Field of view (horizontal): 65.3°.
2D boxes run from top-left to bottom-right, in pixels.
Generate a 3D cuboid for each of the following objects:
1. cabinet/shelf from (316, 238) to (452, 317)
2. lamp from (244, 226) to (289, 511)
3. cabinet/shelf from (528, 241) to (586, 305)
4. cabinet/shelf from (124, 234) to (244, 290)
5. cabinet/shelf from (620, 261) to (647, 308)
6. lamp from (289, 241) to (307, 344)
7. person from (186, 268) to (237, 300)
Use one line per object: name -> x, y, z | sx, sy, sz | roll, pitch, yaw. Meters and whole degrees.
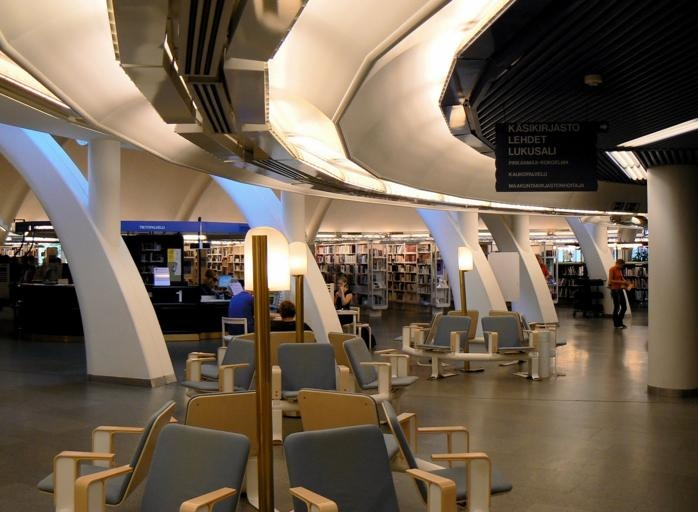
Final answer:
cabinet/shelf -> 1.336, 0.711, 22.272 | 3.574, 3.296, 6.163 | 0, -5, -32
lamp -> -0.606, 0.808, 3.845 | 0.108, 1.924, 0.200 | -2, -3, -12
cabinet/shelf -> 8.310, 0.718, 21.747 | 2.593, 2.754, 0.900 | -1, 0, -26
cabinet/shelf -> -5.441, 0.025, 16.973 | 2.354, 0.891, 2.251 | 0, -6, -6
cabinet/shelf -> 11.145, 1.156, 21.257 | 0.585, 1.753, 1.722 | 0, -4, 15
lamp -> -0.626, 0.439, 6.895 | 0.194, 1.298, 0.555 | -2, -3, -5
person -> -3.643, 0.811, 14.519 | 1.155, 1.107, 0.908 | -4, -2, 34
